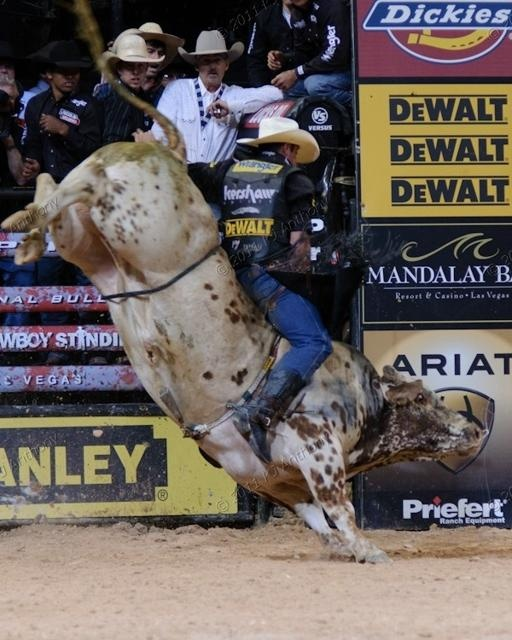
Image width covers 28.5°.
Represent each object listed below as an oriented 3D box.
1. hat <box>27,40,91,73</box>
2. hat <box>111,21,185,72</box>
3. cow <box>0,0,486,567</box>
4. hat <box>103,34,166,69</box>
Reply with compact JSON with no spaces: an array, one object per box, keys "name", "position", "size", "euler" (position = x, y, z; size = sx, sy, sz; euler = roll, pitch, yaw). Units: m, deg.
[{"name":"hat","position":[-1.453,-2.071,7.947],"size":[0.437,0.154,0.483],"euler":[11,19,30]},{"name":"hat","position":[-0.811,-2.315,8.268],"size":[0.425,0.151,0.439],"euler":[29,6,31]},{"name":"cow","position":[-0.118,0.048,5.739],"size":[2.439,2.657,0.709],"euler":[-1,-2,-24]},{"name":"hat","position":[-0.965,-2.066,7.767],"size":[0.337,0.127,0.363],"euler":[-3,-5,-13]}]
